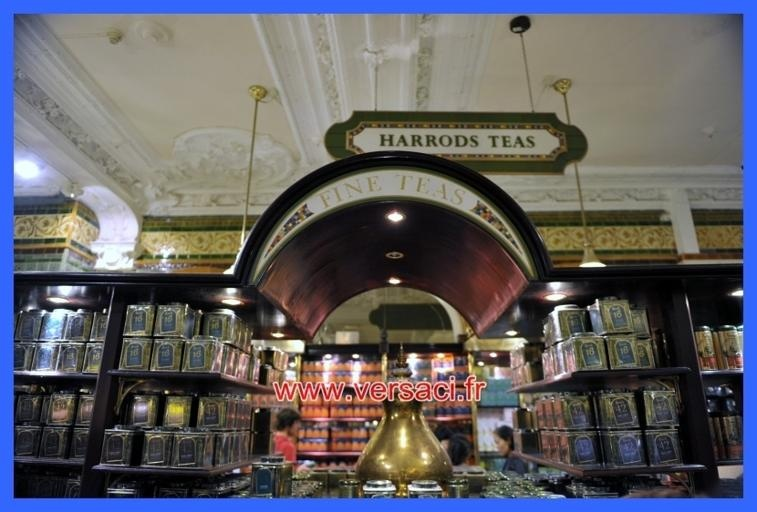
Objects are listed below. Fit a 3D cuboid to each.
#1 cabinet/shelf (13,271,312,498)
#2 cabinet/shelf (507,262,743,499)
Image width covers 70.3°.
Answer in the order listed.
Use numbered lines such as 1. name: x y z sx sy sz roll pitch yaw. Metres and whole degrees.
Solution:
1. cabinet/shelf: -2.010 1.045 4.437 1.700 1.434 1.226 3 -8 -6
2. cabinet/shelf: 1.724 1.140 4.406 1.172 1.211 1.441 -5 -17 7
